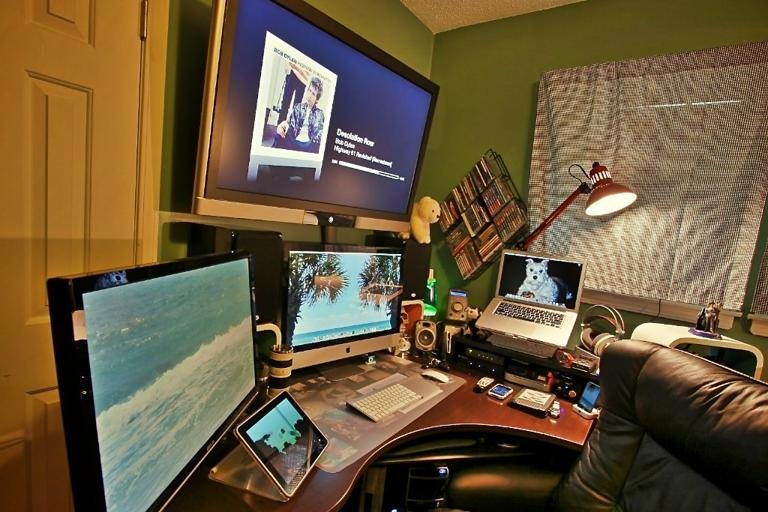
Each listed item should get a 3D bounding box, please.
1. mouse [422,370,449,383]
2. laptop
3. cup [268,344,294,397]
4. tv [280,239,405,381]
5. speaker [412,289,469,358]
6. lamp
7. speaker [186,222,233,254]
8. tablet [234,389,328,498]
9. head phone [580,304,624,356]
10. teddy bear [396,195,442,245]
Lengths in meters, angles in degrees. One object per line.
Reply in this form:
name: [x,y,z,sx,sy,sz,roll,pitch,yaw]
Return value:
mouse: [0.247,0.562,2.504,0.096,0.025,0.057,16,16,42]
laptop: [0.811,0.208,2.759,0.537,0.323,0.514,10,26,29]
cup: [-0.422,0.456,2.092,0.082,0.189,0.111,-1,11,-39]
tv: [-0.239,0.221,2.510,0.714,0.571,0.231,-1,4,-44]
speaker: [0.319,0.375,2.897,0.243,0.412,0.300,13,-6,46]
lamp: [1.045,-0.230,2.823,0.543,0.624,0.270,20,37,27]
speaker: [-0.756,-0.081,2.217,0.130,0.125,0.072,11,8,35]
tablet: [-0.353,0.641,1.828,0.207,0.216,0.319,5,13,16]
head phone: [1.125,0.368,2.633,0.105,0.233,0.205,0,8,-32]
teddy bear: [0.214,-0.240,3.119,0.209,0.272,0.171,28,10,31]
